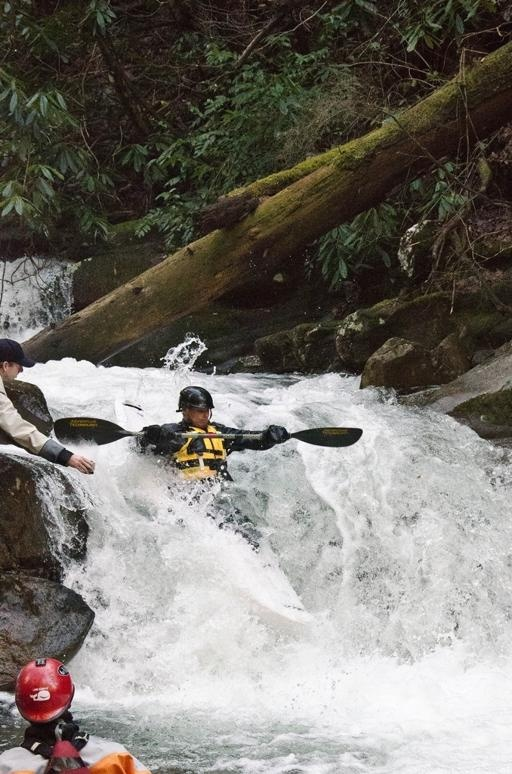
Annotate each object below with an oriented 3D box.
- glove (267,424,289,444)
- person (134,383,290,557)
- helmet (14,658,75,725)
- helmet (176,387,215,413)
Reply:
[{"bbox_3d":[0.133,0.302,5.791,0.136,0.117,0.113,8,23,42],"label":"glove"},{"bbox_3d":[-0.235,0.503,5.829,1.075,0.527,1.279,-9,41,-42],"label":"person"},{"bbox_3d":[-0.744,1.019,3.068,0.198,0.195,0.232,-16,25,-9],"label":"helmet"},{"bbox_3d":[-0.407,0.072,5.987,0.176,0.137,0.200,0,11,-25],"label":"helmet"}]
